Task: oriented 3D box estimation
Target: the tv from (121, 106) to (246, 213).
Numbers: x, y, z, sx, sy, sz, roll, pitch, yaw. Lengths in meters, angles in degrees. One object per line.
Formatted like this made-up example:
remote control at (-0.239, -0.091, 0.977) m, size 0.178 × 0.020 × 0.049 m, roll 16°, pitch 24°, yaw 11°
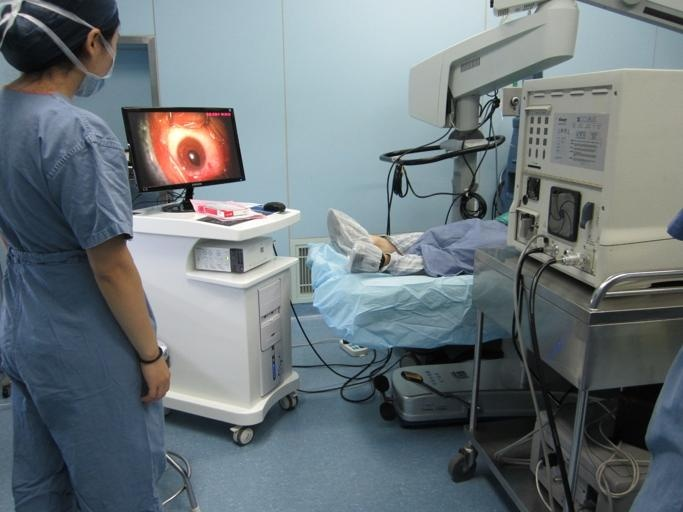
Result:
tv at (-0.710, -0.476, 2.466) m, size 0.198 × 0.484 × 0.581 m, roll 16°, pitch 17°, yaw 35°

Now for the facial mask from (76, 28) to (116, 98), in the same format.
facial mask at (-0.683, -0.537, 1.544) m, size 0.117 × 0.141 × 0.089 m, roll 10°, pitch 44°, yaw 33°

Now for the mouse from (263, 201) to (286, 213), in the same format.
mouse at (-0.313, -0.227, 2.531) m, size 0.094 × 0.034 × 0.056 m, roll 8°, pitch 12°, yaw 35°
